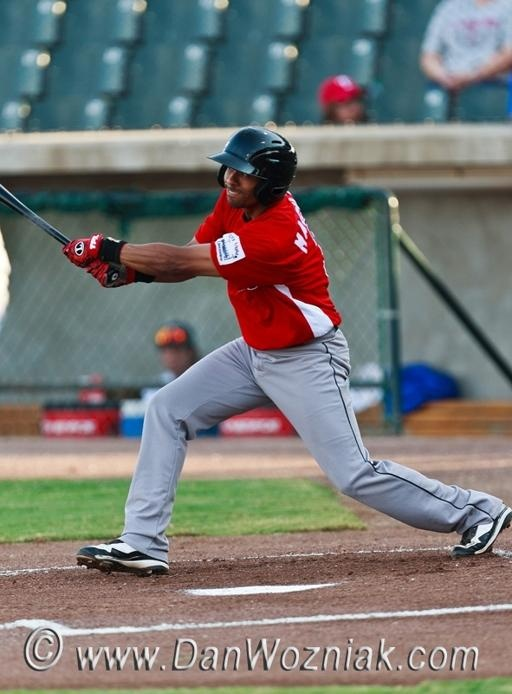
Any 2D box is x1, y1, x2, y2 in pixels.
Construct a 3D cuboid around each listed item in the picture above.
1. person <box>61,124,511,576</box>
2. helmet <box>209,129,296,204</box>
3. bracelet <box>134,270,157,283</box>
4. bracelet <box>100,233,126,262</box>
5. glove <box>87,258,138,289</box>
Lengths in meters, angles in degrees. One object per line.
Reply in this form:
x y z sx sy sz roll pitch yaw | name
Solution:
0.008 0.011 3.329 1.282 1.266 0.764 -6 25 -7 | person
-0.036 -0.535 3.323 0.337 0.218 0.234 -6 30 -13 | helmet
-0.349 -0.205 3.348 0.051 0.039 0.039 13 16 5 | bracelet
-0.431 -0.283 3.251 0.085 0.065 0.033 11 -1 21 | bracelet
-0.438 -0.208 3.282 0.127 0.039 0.084 19 2 -17 | glove
